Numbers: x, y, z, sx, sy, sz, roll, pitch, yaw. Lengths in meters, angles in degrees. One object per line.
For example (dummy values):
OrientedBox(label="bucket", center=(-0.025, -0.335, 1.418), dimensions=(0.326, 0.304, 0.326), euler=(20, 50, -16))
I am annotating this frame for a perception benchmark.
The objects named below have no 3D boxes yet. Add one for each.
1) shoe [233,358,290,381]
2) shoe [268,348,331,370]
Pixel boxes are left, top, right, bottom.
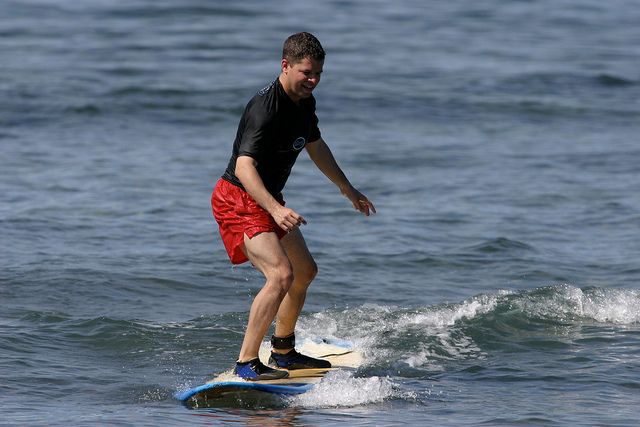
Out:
OrientedBox(label="shoe", center=(-1.009, 2.763, 24.223), dimensions=(0.936, 0.465, 0.273), euler=(-5, 26, -2))
OrientedBox(label="shoe", center=(-0.393, 2.632, 24.713), dimensions=(1.216, 0.284, 0.338), euler=(-2, -3, -6))
